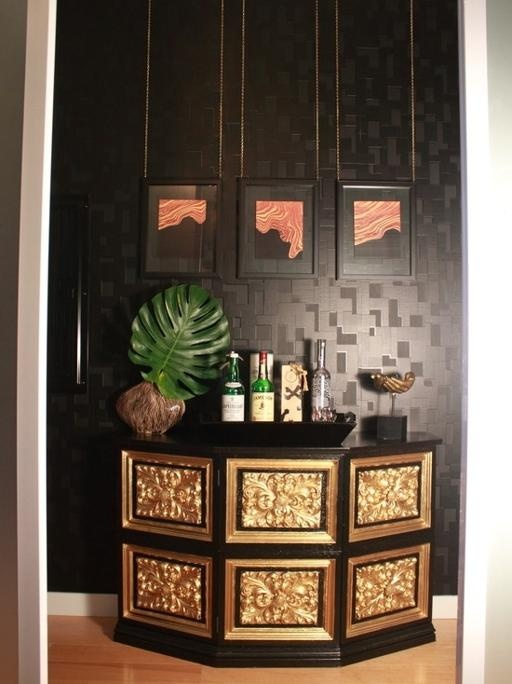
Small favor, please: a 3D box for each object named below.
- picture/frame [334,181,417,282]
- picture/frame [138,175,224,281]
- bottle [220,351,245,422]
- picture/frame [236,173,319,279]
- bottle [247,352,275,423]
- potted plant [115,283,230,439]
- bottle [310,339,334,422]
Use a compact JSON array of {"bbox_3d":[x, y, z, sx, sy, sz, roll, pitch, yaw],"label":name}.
[{"bbox_3d":[0.517,-0.473,3.107,0.331,0.476,0.031,1,-19,7],"label":"picture/frame"},{"bbox_3d":[-0.310,-0.479,3.084,0.337,0.463,0.032,-2,33,-11],"label":"picture/frame"},{"bbox_3d":[-0.089,0.170,2.811,0.078,0.250,0.223,-1,0,-3],"label":"bottle"},{"bbox_3d":[0.101,-0.476,3.084,0.335,0.461,0.030,2,33,3],"label":"picture/frame"},{"bbox_3d":[0.025,0.171,2.777,0.092,0.257,0.238,-1,0,1],"label":"bottle"},{"bbox_3d":[-0.324,0.040,2.979,0.361,0.635,0.243,21,-6,-1],"label":"potted plant"},{"bbox_3d":[0.259,0.147,2.862,0.085,0.308,0.242,-1,0,5],"label":"bottle"}]
